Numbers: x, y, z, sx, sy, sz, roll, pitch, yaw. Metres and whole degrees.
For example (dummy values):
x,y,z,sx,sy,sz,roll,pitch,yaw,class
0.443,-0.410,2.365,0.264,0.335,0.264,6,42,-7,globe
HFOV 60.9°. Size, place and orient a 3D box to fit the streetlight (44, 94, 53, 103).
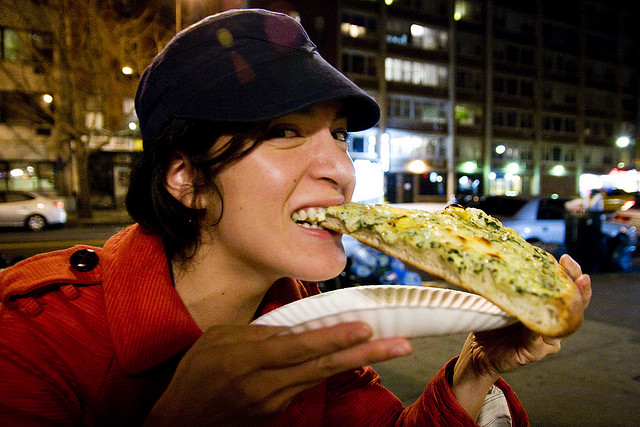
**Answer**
x,y,z,sx,sy,sz,roll,pitch,yaw,class
-16.265,-6.886,32.756,0.389,0.476,0.689,0,5,-23,streetlight
